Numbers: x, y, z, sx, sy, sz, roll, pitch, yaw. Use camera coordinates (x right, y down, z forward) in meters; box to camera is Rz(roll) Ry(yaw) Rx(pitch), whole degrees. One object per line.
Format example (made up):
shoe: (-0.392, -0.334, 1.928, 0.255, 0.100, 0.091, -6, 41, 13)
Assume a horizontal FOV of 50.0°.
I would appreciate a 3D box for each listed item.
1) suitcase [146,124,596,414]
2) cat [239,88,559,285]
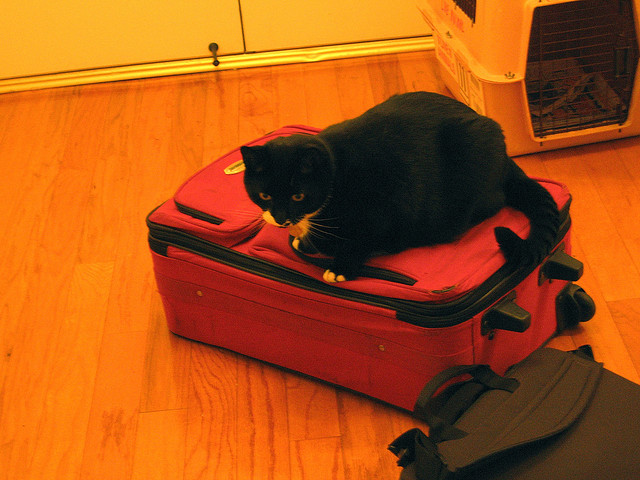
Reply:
suitcase: (0.113, 0.040, 1.708, 1.008, 0.361, 0.647, 13, 35, 29)
cat: (0.193, -0.066, 1.489, 0.563, 0.267, 0.406, -20, 42, -6)
